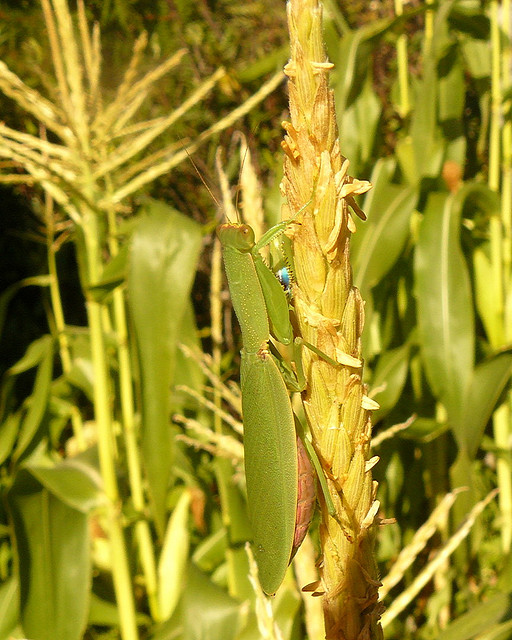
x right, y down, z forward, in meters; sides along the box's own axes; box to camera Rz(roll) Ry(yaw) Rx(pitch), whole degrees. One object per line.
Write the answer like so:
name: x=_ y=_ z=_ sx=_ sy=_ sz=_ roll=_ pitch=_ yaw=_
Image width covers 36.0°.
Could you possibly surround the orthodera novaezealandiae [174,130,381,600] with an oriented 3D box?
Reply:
orthodera novaezealandiae: x=0.011 y=0.075 z=1.302 sx=0.317 sy=0.972 sz=0.462 roll=-1 pitch=-2 yaw=-3
